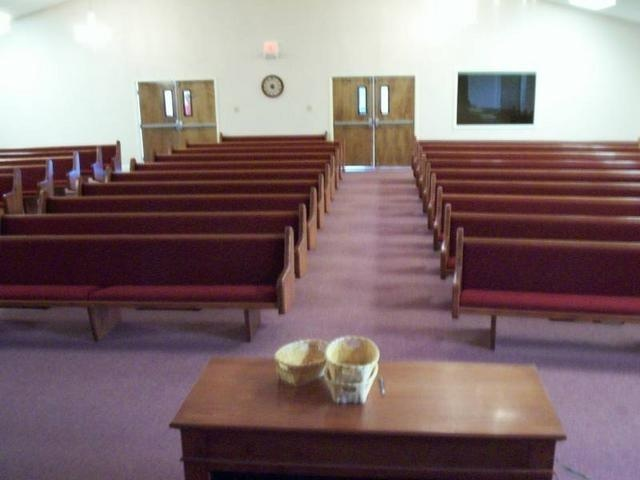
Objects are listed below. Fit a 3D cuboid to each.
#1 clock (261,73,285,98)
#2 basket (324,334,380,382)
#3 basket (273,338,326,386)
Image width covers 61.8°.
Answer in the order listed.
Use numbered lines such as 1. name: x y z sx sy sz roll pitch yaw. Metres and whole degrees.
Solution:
1. clock: -1.004 -3.297 11.457 0.418 0.469 0.107 -12 14 5
2. basket: 0.135 0.548 2.471 0.231 0.133 0.242 8 16 20
3. basket: -0.074 0.580 2.476 0.179 0.103 0.237 14 19 43
